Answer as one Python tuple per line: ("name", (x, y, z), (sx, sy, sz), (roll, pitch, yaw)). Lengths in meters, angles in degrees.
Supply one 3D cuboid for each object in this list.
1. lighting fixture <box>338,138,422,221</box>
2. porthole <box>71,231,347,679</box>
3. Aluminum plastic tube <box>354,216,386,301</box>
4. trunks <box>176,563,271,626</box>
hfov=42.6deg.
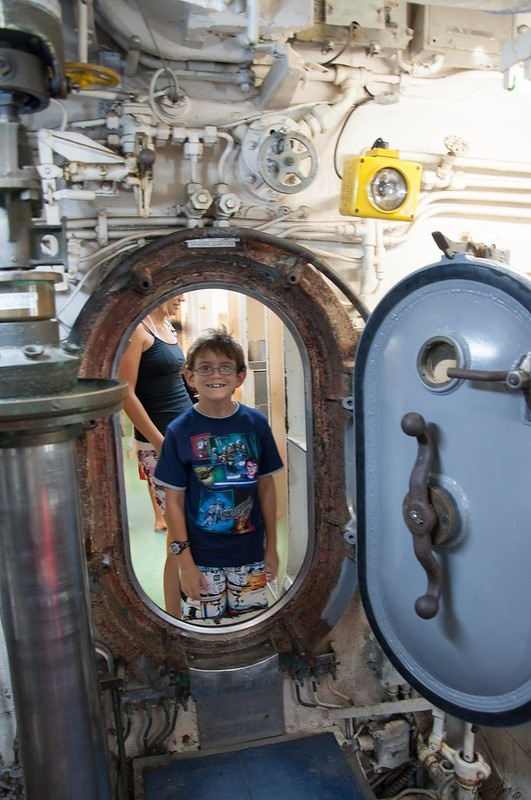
("lighting fixture", (0.383, -0.709, 2.218), (0.280, 0.231, 0.129), (0, 21, -22))
("porthole", (-0.152, 0.189, 2.327), (0.933, 1.459, 0.346), (-3, 2, -16))
("Aluminum plastic tube", (0.363, -0.483, 2.372), (0.084, 0.275, 0.101), (-3, 2, 6))
("trunks", (-0.157, 0.765, 2.804), (0.359, 0.227, 0.194), (-3, 1, 4))
